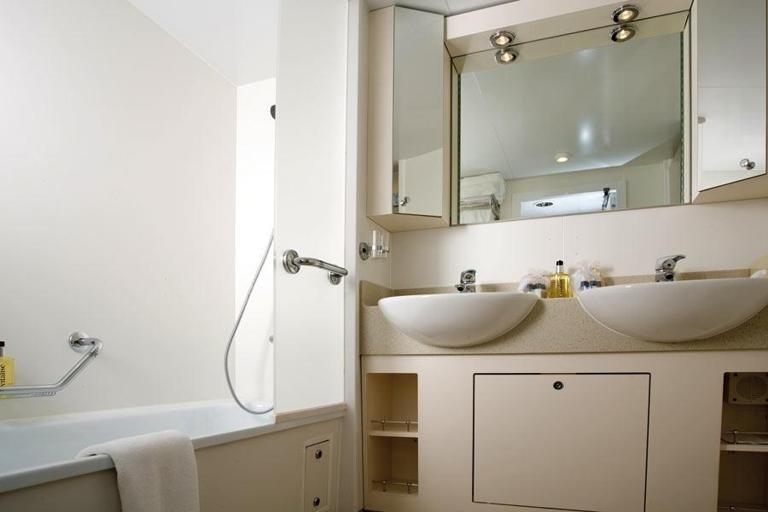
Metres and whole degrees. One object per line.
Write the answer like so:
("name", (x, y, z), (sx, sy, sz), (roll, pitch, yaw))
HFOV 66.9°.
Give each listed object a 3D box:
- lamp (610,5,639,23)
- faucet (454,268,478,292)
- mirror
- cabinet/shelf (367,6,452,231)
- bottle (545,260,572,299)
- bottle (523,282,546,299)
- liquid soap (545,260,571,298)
("lamp", (1.241, -1.238, 2.978), (0.125, 0.058, 0.089), (0, -2, 24))
("faucet", (0.446, 0.137, 3.116), (0.120, 0.119, 0.092), (2, -4, 20))
("mirror", (1.047, -0.720, 3.075), (1.143, 0.866, 0.023), (-1, -3, 20))
("cabinet/shelf", (0.138, -0.778, 3.169), (0.458, 1.173, 0.231), (1, -1, -1))
("bottle", (0.897, 0.113, 2.966), (0.126, 0.183, 0.057), (0, -1, 14))
("bottle", (0.762, 0.165, 2.917), (0.084, 0.084, 0.087), (1, 3, 16))
("liquid soap", (0.918, 0.126, 3.002), (0.111, 0.204, 0.114), (0, -11, 9))
